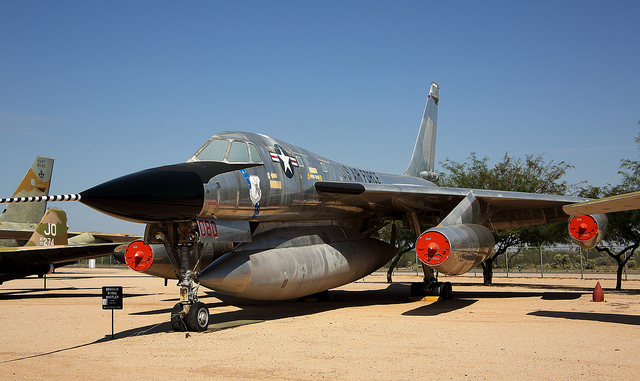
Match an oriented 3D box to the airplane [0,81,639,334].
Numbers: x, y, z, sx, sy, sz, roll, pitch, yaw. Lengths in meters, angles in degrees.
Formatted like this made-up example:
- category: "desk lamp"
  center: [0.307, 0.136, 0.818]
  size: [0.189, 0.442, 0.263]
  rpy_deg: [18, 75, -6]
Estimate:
- category: "airplane"
  center: [-0.201, 1.197, 14.970]
  size: [15.336, 5.862, 6.724]
  rpy_deg: [4, -8, -25]
